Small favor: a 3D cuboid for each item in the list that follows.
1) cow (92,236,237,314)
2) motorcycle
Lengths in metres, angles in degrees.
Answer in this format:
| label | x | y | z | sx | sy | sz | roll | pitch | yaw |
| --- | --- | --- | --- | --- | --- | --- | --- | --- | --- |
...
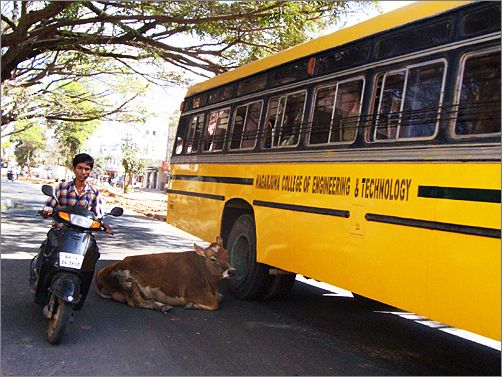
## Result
| label | x | y | z | sx | sy | sz | roll | pitch | yaw |
| --- | --- | --- | --- | --- | --- | --- | --- | --- | --- |
| cow | -1.368 | 1.414 | 5.648 | 2.182 | 1.163 | 0.950 | 4 | -14 | -9 |
| motorcycle | -2.141 | 0.862 | 4.072 | 0.630 | 1.589 | 1.023 | 5 | 1 | -41 |
